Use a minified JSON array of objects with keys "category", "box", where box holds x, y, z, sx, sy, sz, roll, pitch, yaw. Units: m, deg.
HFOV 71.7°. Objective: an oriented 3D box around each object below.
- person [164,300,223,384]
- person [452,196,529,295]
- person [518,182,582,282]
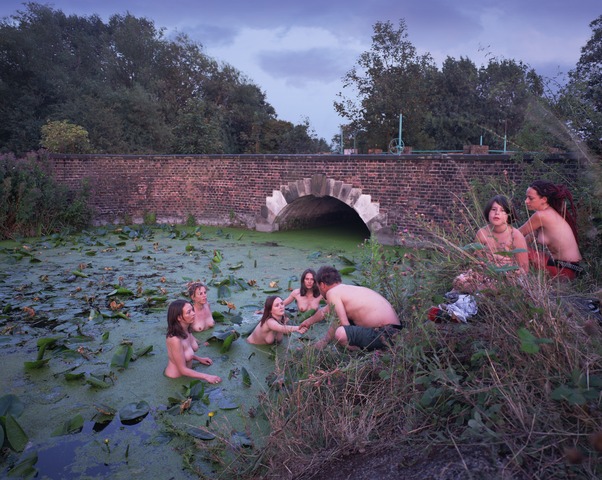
[{"category":"person","box":[-1.378,1.255,5.180,0.583,0.993,0.678,-2,12,-22]},{"category":"person","box":[2.265,0.094,4.779,0.746,1.092,0.679,-19,21,-35]},{"category":"person","box":[3.382,-0.145,5.562,0.800,1.249,0.851,3,7,9]}]
